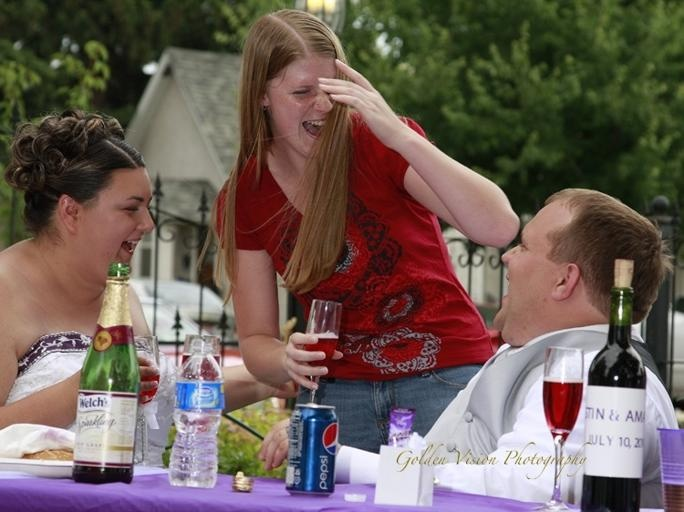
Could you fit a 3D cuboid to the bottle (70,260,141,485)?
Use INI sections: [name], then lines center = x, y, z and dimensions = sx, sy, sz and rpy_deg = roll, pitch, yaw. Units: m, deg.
[bottle]
center = -0.893, 0.444, 4.590
dimensions = 0.234, 0.840, 0.169
rpy_deg = 2, -3, -13
